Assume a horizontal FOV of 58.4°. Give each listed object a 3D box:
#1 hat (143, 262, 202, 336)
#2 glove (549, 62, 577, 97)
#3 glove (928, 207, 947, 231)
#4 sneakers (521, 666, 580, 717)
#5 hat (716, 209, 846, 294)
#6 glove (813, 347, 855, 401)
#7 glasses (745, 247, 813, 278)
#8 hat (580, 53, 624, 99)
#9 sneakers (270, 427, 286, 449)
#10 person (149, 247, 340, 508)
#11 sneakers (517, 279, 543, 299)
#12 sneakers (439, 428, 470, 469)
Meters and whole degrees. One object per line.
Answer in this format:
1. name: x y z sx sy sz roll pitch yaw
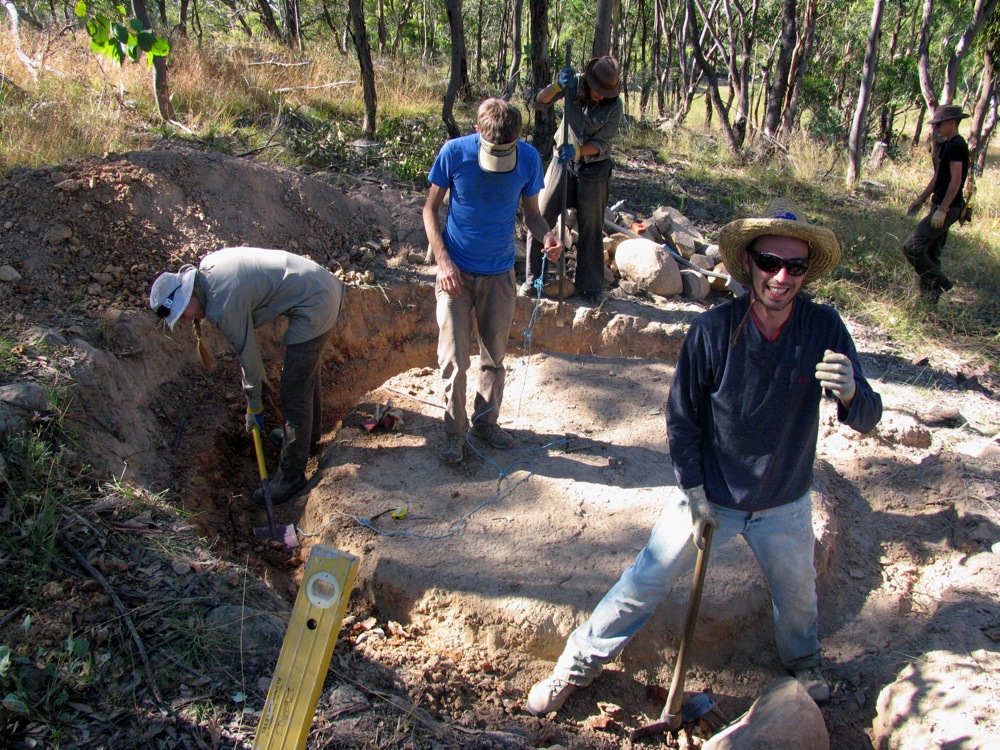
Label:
1. hat: -2.270 -0.548 6.166 0.313 0.467 0.221 8 -7 45
2. glove: 0.580 -2.748 8.231 0.098 0.322 0.219 9 18 15
3. glove: 4.938 -1.752 10.044 0.120 0.203 0.073 7 12 16
4. sneakers: 0.308 2.079 5.798 0.183 0.468 0.187 53 16 7
5. hat: 1.669 -0.831 5.239 0.677 0.371 0.820 8 31 3
6. glove: 1.894 -0.011 5.039 0.119 0.155 0.236 -16 -18 16
7. glasses: 1.598 -0.643 5.127 0.332 0.116 0.186 9 25 15
8. hat: 0.944 -2.766 8.285 0.352 0.376 0.376 3 23 3
9. sneakers: -1.888 0.556 7.593 0.126 0.115 0.128 -17 62 -48
10. person: -1.902 -0.039 6.988 1.406 1.985 0.764 -9 33 -23
11. sneakers: 0.291 -0.870 8.833 0.232 0.090 0.174 -7 66 -5
12. sneakers: -0.358 0.615 7.136 0.166 0.272 0.145 24 40 30
